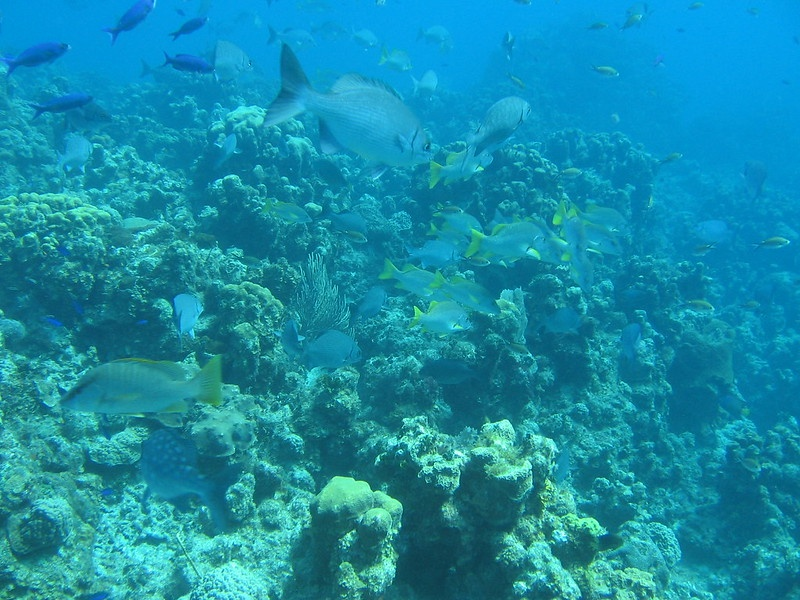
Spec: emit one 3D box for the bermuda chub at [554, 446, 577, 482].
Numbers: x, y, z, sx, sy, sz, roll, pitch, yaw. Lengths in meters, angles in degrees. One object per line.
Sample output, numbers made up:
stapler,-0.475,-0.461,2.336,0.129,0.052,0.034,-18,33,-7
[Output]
bermuda chub,5.014,5.095,26.112,0.751,0.244,1.075,17,65,-9
